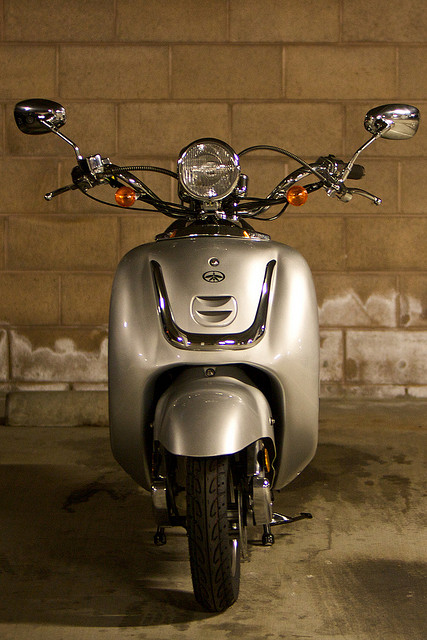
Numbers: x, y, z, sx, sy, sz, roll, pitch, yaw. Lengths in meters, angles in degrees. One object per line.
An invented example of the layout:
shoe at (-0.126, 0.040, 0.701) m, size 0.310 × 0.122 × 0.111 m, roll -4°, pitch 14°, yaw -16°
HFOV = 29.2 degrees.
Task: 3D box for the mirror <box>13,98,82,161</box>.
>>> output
mirror at (-0.543, -0.629, 2.593) m, size 0.161 × 0.101 × 0.258 m, roll -14°, pitch 48°, yaw -34°

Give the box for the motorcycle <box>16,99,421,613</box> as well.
motorcycle at (0.013, 0.053, 2.911) m, size 1.231 × 1.132 × 1.733 m, roll -1°, pitch 4°, yaw 3°
